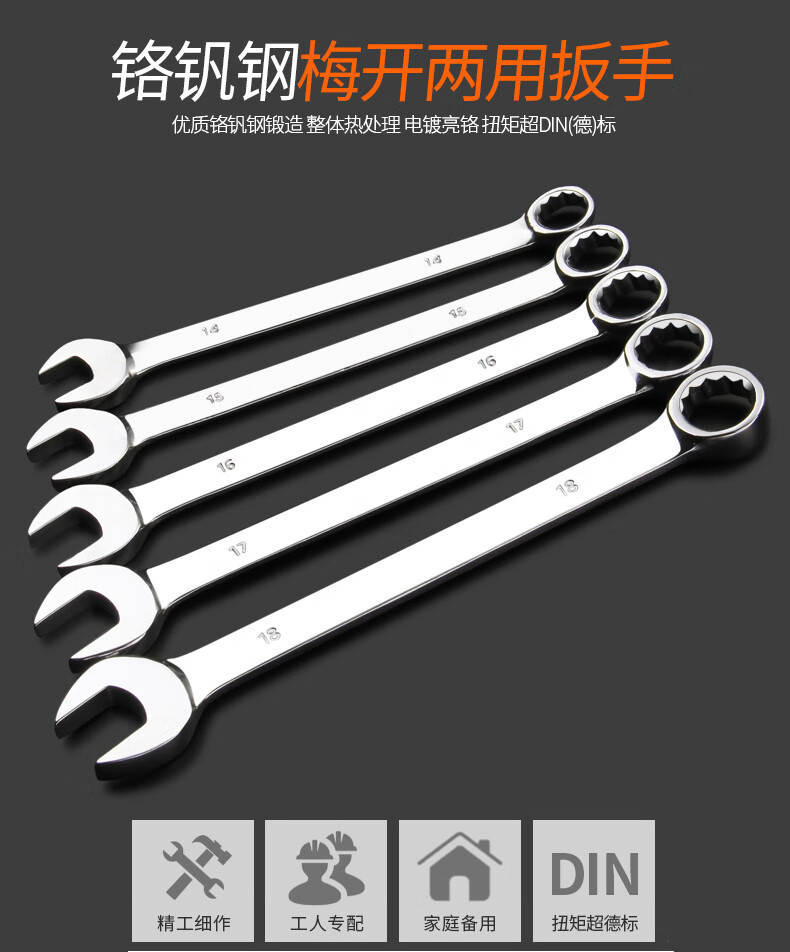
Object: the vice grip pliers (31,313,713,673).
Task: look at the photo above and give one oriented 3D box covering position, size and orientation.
[{"bbox_3d":[-0.012,0.046,1.337,0.995,0.202,0.069,-24,109,-26],"label":"vice grip pliers"}]
